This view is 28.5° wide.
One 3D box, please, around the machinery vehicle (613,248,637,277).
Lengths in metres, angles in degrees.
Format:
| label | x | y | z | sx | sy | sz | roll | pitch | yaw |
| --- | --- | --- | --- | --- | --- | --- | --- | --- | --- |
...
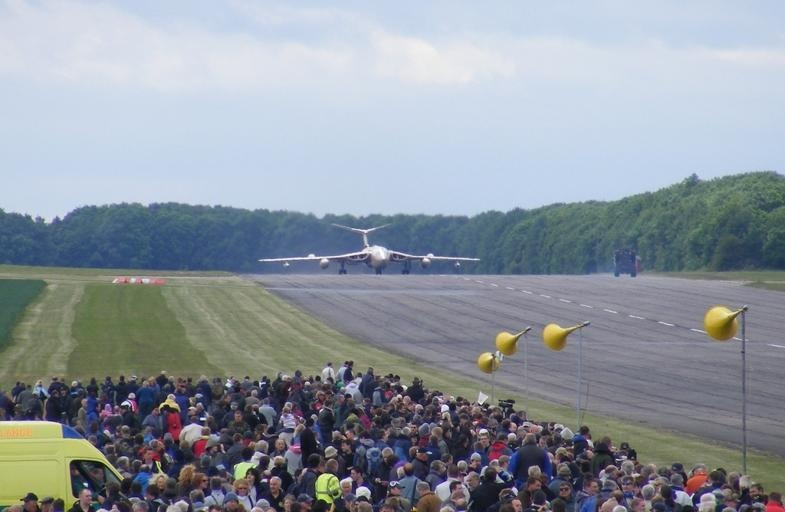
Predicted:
| label | x | y | z | sx | sy | sz | roll | pitch | yaw |
| --- | --- | --- | --- | --- | --- | --- | --- | --- | --- |
| machinery vehicle | 22.985 | 0.778 | 152.792 | 2.144 | 1.672 | 2.979 | 2 | 7 | 7 |
